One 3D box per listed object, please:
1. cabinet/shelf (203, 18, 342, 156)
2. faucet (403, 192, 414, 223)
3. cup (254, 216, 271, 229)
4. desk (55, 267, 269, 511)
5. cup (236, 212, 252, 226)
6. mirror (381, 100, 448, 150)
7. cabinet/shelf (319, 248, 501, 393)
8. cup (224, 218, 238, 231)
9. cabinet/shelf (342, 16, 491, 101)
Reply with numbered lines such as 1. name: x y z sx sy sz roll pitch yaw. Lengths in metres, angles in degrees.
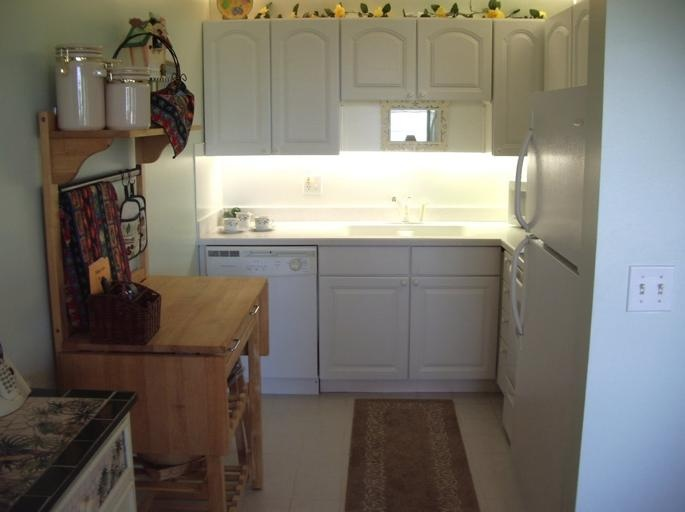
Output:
1. cabinet/shelf: -0.475 -1.071 3.964 0.917 0.956 0.669 -2 -6 1
2. faucet: 0.481 -0.339 4.051 0.059 0.173 0.080 2 12 14
3. cup: -0.561 -0.228 3.824 0.112 0.079 0.078 -3 12 -11
4. desk: -0.671 0.588 2.292 0.594 0.835 0.782 0 12 4
5. cup: -0.695 -0.259 3.858 0.091 0.090 0.096 2 7 0
6. mirror: 0.510 -0.926 3.808 0.312 0.242 0.012 0 20 2
7. cabinet/shelf: 0.424 0.413 3.968 1.445 1.366 0.779 0 3 1
8. cup: -0.767 -0.212 3.744 0.077 0.073 0.081 2 18 -1
9. cabinet/shelf: 0.491 -1.291 3.865 1.022 0.542 0.516 0 0 1
